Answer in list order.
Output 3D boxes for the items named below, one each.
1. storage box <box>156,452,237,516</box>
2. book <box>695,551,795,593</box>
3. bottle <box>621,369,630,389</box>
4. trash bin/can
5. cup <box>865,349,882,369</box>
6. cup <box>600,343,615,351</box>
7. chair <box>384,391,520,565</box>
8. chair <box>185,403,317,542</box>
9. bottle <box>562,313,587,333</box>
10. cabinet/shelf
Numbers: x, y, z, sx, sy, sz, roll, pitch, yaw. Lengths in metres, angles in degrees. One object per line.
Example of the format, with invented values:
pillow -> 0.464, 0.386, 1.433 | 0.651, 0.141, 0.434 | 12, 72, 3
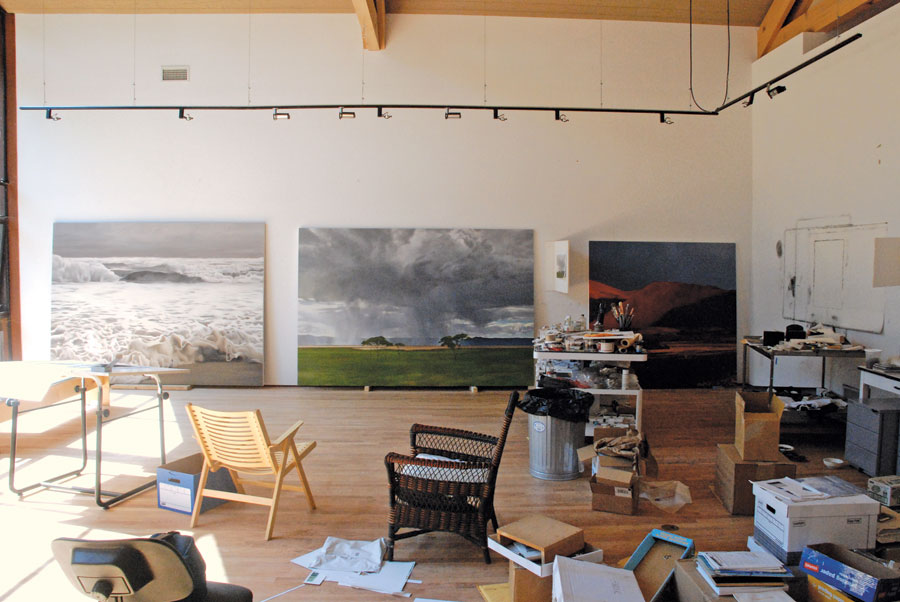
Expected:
storage box -> -2.864, 2.044, 8.444 | 0.688, 0.368, 0.678 | 1, -2, 25
book -> 2.587, 2.400, 6.647 | 0.525, 0.130, 0.468 | 1, 0, 0
bottle -> 2.282, 1.016, 9.753 | 0.087, 0.257, 0.224 | -1, 3, 14
trash bin/can -> 1.287, 1.634, 9.372 | 1.336, 1.075, 1.021 | 1, -2, -2
cup -> 5.495, 0.757, 9.749 | 0.264, 0.229, 0.253 | 0, -1, 0
cup -> 2.081, 0.608, 9.855 | 0.238, 0.136, 0.097 | -2, 3, -25
chair -> 0.050, 1.918, 8.687 | 1.895, 1.997, 1.719 | 2, -4, 4
chair -> -2.214, 1.806, 8.284 | 1.040, 1.449, 1.064 | 1, 3, 34
bottle -> 1.838, 0.324, 10.939 | 0.310, 0.378, 0.413 | 0, -6, 10
cabinet/shelf -> 1.855, 1.153, 10.030 | 1.403, 0.899, 1.336 | 0, -2, 3
